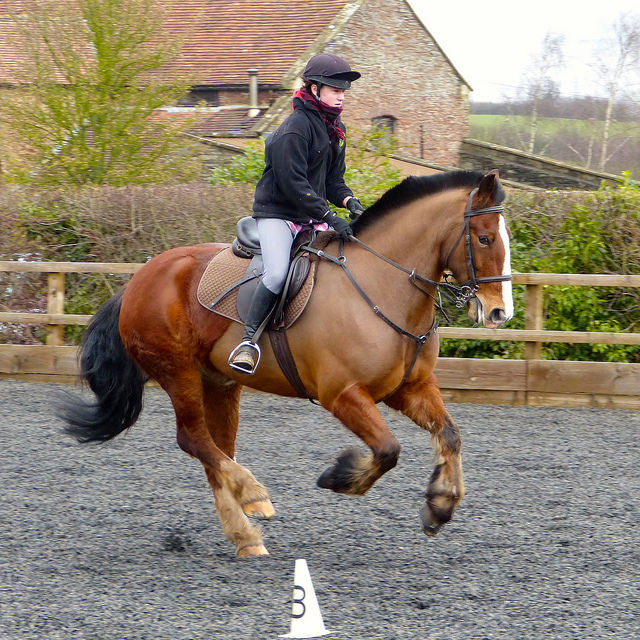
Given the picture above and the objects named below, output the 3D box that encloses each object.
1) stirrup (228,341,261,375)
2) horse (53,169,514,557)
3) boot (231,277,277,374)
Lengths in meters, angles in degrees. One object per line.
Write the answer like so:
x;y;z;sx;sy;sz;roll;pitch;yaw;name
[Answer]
-0.410;0.202;4.270;0.187;0.165;0.073;14;6;-11;stirrup
-0.179;0.192;4.407;2.352;2.000;1.064;9;17;36;horse
-0.372;0.025;4.264;0.179;0.482;0.245;14;7;13;boot
